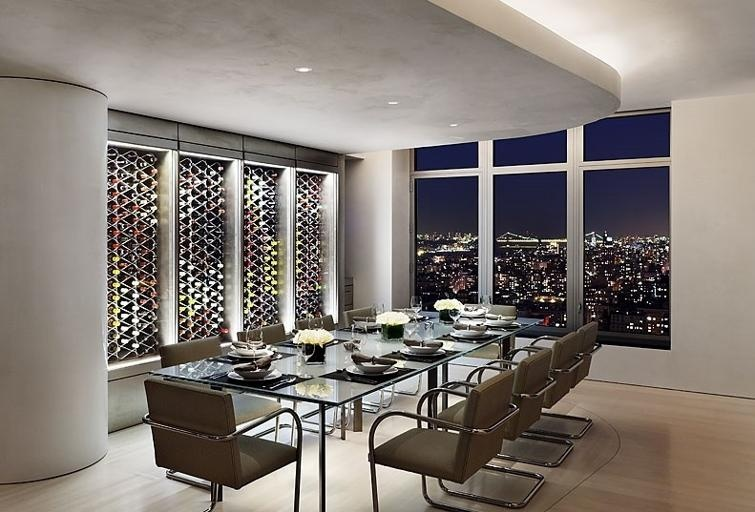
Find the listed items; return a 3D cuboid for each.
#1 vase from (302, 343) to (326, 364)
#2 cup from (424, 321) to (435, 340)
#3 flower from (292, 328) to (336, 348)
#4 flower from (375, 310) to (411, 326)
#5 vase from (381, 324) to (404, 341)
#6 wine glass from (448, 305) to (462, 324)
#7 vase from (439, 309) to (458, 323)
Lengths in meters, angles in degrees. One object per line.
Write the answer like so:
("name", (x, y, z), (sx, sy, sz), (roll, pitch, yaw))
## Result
("vase", (-0.528, 0.816, 4.139), (0.205, 0.175, 0.170), (1, -1, 23))
("cup", (0.571, 0.804, 5.233), (0.109, 0.139, 0.100), (2, 3, 0))
("flower", (-0.566, 0.718, 4.280), (0.306, 0.114, 0.276), (0, -2, -6))
("flower", (0.153, 0.618, 4.860), (0.203, 0.097, 0.194), (-1, -1, 34))
("vase", (0.161, 0.748, 4.879), (0.191, 0.117, 0.183), (-1, -2, 33))
("wine glass", (0.868, 0.690, 5.608), (0.196, 0.179, 0.175), (1, -5, 0))
("vase", (0.834, 0.695, 5.708), (0.190, 0.116, 0.183), (2, 2, 35))
